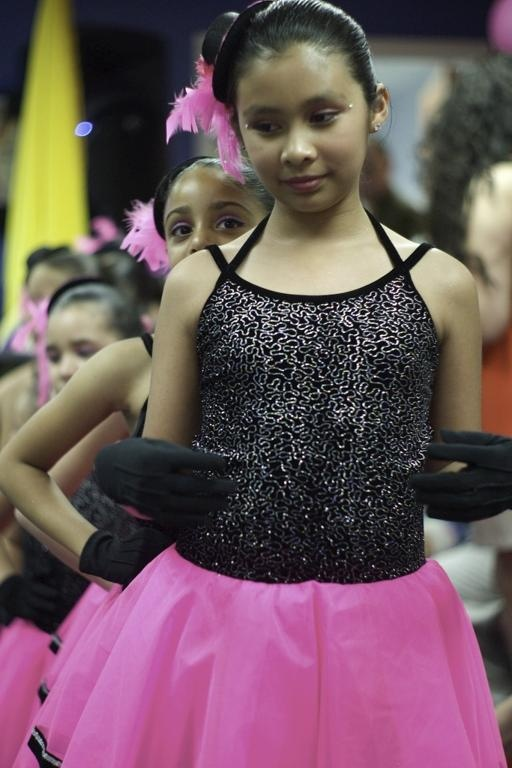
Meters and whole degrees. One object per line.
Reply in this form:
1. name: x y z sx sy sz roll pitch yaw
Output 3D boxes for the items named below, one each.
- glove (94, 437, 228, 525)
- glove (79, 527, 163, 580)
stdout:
1. glove: -0.109 0.113 0.945 0.159 0.078 0.101 19 32 35
2. glove: -0.200 0.243 1.142 0.124 0.088 0.050 11 -2 40
